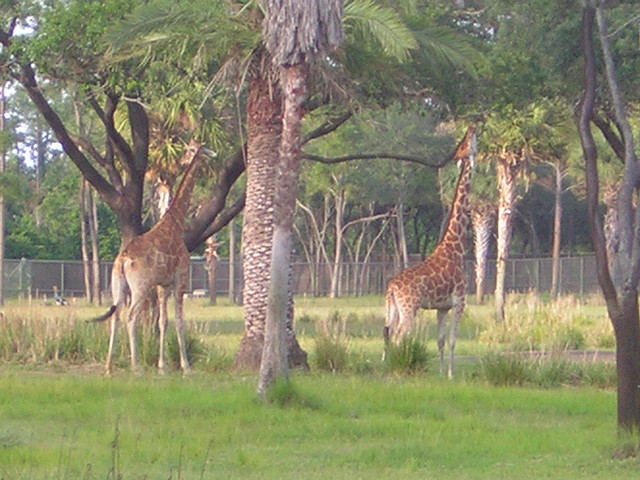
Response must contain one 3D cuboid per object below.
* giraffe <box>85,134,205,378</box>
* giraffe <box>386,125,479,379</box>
[{"bbox_3d":[-4.448,0.409,41.846,2.435,6.899,2.596,1,-7,-5],"label":"giraffe"},{"bbox_3d":[3.045,0.358,41.068,2.322,6.776,1.018,1,-7,-6],"label":"giraffe"}]
